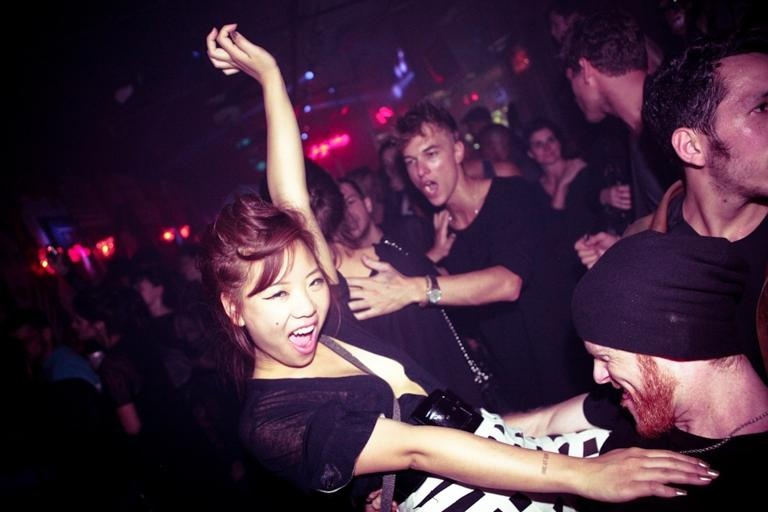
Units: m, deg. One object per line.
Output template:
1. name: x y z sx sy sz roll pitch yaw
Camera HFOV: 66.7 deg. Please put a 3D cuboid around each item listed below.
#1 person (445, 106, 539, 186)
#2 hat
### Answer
1. person: 1.390 -1.353 7.165 0.612 0.688 1.152 -37 62 -25
2. hat: 2.285 0.245 4.759 1.001 0.822 1.267 -8 6 -28
